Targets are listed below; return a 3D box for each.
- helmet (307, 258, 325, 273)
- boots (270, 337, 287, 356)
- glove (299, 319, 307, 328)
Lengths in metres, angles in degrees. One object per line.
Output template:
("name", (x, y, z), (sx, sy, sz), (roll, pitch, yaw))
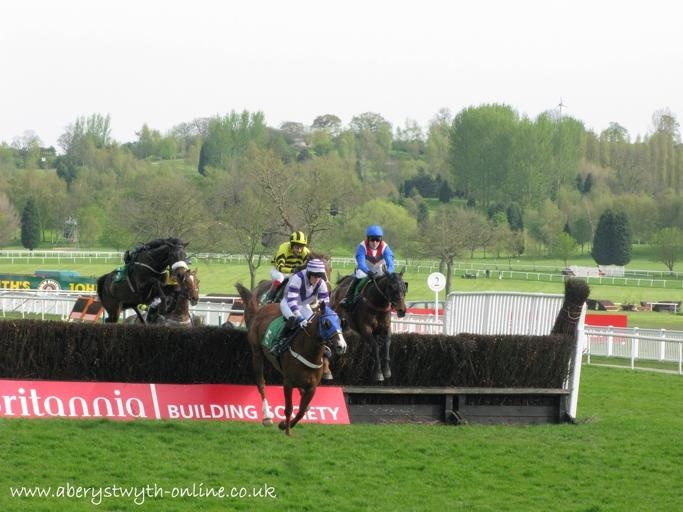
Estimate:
("helmet", (-0.951, 0.441, 55.071), (0.417, 0.477, 0.577), (0, -5, -26))
("boots", (-2.307, 3.425, 54.815), (0.388, 0.301, 1.109), (7, 36, 16))
("glove", (-1.391, 2.548, 54.640), (0.237, 0.097, 0.249), (-8, 27, 27))
